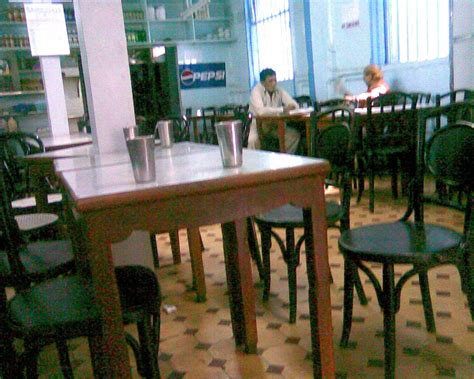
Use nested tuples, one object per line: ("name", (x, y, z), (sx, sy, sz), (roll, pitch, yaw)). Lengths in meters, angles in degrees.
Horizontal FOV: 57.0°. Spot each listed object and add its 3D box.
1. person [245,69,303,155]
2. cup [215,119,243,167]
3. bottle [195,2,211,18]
("person", (0.355, -0.675, 4.248), (0.437, 0.901, 0.468), (-2, 20, 7))
("cup", (-0.021, -0.132, 1.279), (0.077, 0.133, 0.062), (-6, 12, 0))
("bottle", (-0.382, -1.960, 4.796), (0.166, 0.180, 0.362), (-7, 13, -3))
